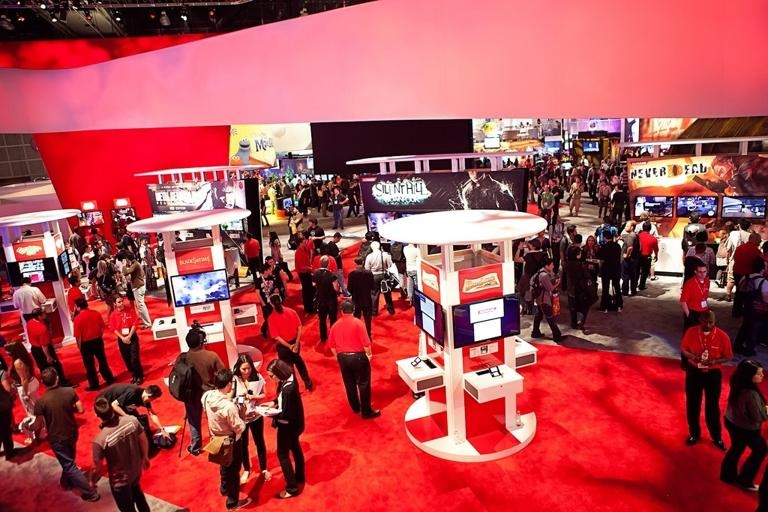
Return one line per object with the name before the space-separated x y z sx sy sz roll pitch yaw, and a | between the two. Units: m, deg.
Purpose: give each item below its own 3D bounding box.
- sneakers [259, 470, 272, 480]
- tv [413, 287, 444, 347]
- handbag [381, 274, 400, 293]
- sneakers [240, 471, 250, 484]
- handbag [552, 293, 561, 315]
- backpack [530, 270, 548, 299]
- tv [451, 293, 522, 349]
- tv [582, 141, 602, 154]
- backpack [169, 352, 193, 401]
sneakers | -1.563 2.892 6.432 0.145 0.119 0.136 -11 14 -17
tv | 0.648 0.826 6.689 0.141 0.651 1.018 -6 11 -19
handbag | 0.138 0.608 10.523 0.318 0.225 0.512 -24 -9 -12
sneakers | -1.837 2.915 6.423 0.113 0.129 0.167 -9 14 -11
handbag | 3.151 0.882 8.783 0.091 0.468 0.335 0 15 27
backpack | 2.831 0.510 8.819 0.159 0.577 0.420 -8 14 -5
tv | 1.324 0.836 6.365 0.761 0.437 0.074 -9 14 -15
tv | 12.482 -6.486 28.710 0.867 0.615 0.119 9 18 38
backpack | -2.779 1.703 6.639 0.328 0.615 0.342 -14 15 -27
